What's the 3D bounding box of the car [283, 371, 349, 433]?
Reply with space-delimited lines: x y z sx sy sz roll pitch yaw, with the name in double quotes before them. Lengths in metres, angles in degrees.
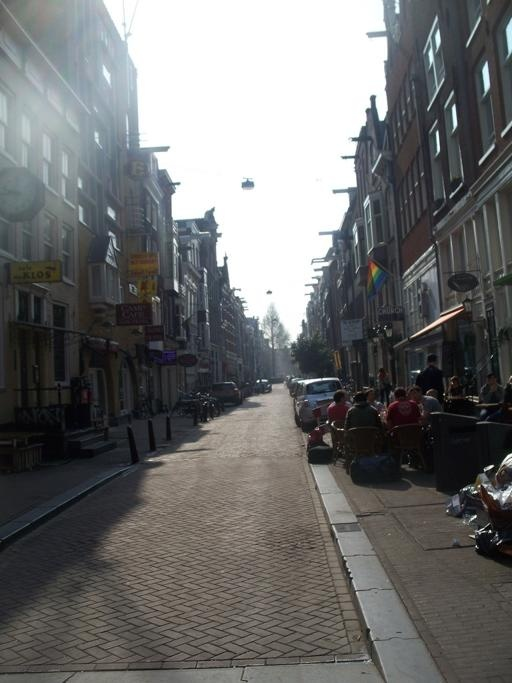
"car" 2.158 2.206 19.194 1.050 1.369 2.642 -2 1 -2
